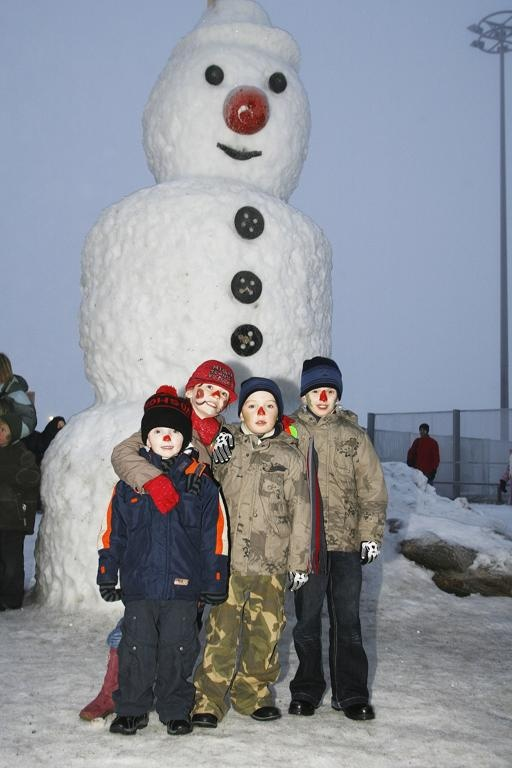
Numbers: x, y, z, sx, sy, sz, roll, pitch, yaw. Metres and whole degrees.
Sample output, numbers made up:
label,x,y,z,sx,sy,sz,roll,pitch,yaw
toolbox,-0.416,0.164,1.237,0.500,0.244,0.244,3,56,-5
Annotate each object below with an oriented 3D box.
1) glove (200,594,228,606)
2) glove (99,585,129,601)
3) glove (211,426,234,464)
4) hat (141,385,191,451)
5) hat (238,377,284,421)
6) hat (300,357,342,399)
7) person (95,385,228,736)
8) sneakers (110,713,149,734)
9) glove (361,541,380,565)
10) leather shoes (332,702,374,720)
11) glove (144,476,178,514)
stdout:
label,x,y,z,sx,sy,sz,roll,pitch,yaw
glove,-0.162,0.827,4.090,0.064,0.033,0.074,0,-29,4
glove,-0.557,0.805,4.044,0.081,0.075,0.026,-2,2,-29
glove,-0.142,0.250,4.354,0.081,0.132,0.036,-14,-37,22
hat,-0.331,0.106,4.221,0.179,0.227,0.237,1,-10,-3
hat,0.025,0.064,4.438,0.179,0.177,0.187,4,-15,-8
hat,0.281,-0.035,4.636,0.193,0.190,0.209,4,-12,-10
person,-0.354,0.678,4.129,0.493,1.274,0.333,2,1,-2
sneakers,-0.483,1.280,4.043,0.056,0.065,0.148,1,1,23
glove,0.460,0.697,4.396,0.078,0.091,0.100,5,8,2
leather shoes,0.389,1.298,4.227,0.061,0.064,0.161,7,-15,-33
glove,-0.351,0.417,4.045,0.056,0.143,0.116,-32,5,35
